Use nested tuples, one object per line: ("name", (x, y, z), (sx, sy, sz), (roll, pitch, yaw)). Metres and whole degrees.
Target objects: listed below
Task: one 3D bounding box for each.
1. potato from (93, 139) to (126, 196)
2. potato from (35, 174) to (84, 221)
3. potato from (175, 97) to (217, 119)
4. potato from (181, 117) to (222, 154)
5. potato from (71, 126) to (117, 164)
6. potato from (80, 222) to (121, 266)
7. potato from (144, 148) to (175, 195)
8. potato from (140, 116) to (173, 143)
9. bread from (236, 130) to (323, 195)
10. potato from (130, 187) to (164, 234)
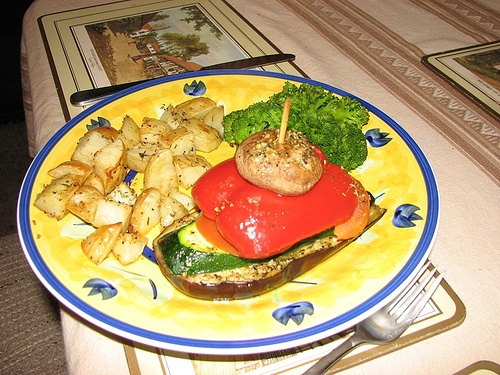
("potato", (-0.778, -0.127, 2.362), (0.212, 0.287, 0.172), (25, 40, 31))
("potato", (-1.016, 0.048, 2.184), (0.166, 0.072, 0.227), (28, 48, 0))
("potato", (-0.363, -0.540, 2.715), (0.198, 0.061, 0.140), (-25, 48, -24))
("potato", (-0.289, -0.332, 2.608), (0.267, 0.196, 0.186), (-23, 34, -36))
("potato", (-0.966, -0.266, 2.445), (0.276, 0.199, 0.192), (-24, 35, -36))
("potato", (-0.744, 0.273, 2.080), (0.204, 0.156, 0.177), (-7, 26, -14))
("potato", (-0.507, -0.088, 2.430), (0.211, 0.250, 0.189), (-18, 37, -28))
("potato", (-0.590, -0.365, 2.573), (0.176, 0.060, 0.165), (-10, 61, -14))
("bread", (0.164, -0.160, 2.180), (0.360, 0.334, 0.394), (-16, 30, -26))
("potato", (-0.566, 0.133, 2.245), (0.158, 0.076, 0.228), (27, 77, -24))
